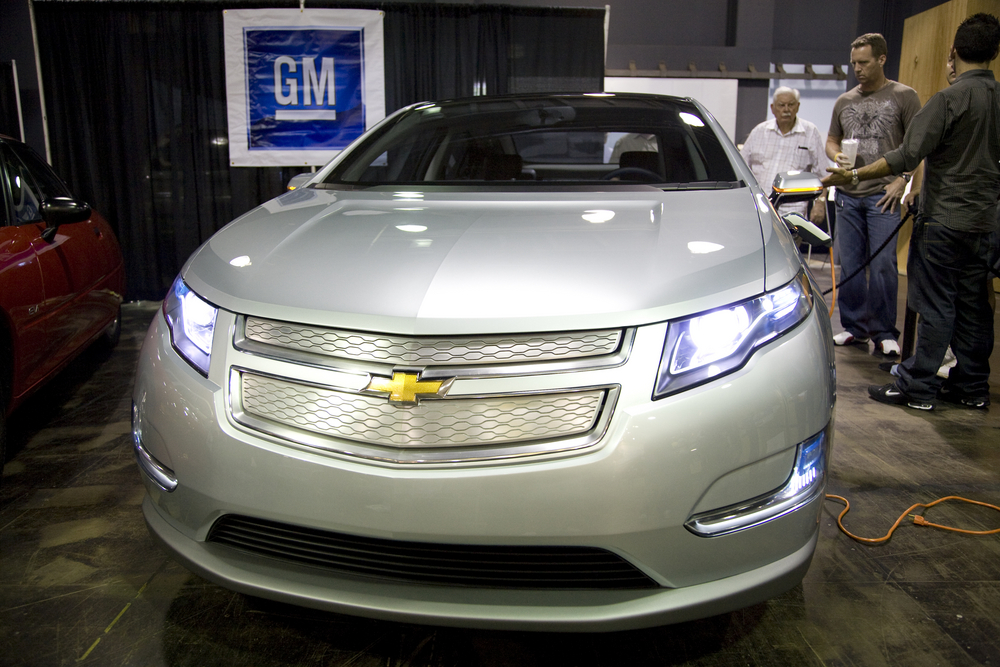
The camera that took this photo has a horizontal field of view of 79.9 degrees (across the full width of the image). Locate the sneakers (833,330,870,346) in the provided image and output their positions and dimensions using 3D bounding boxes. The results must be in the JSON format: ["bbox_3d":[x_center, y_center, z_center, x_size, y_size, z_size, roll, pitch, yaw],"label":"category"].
[{"bbox_3d":[2.813,0.035,4.785,0.267,0.114,0.105,1,13,-7],"label":"sneakers"}]

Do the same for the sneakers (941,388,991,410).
[{"bbox_3d":[2.790,0.379,3.647,0.279,0.120,0.104,15,27,38],"label":"sneakers"}]

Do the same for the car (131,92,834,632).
[{"bbox_3d":[0.163,-0.098,2.636,1.412,1.030,2.438,1,5,12],"label":"car"}]
